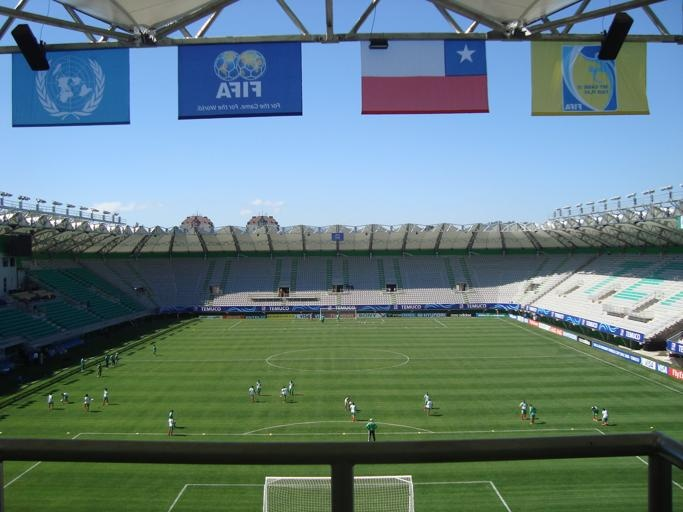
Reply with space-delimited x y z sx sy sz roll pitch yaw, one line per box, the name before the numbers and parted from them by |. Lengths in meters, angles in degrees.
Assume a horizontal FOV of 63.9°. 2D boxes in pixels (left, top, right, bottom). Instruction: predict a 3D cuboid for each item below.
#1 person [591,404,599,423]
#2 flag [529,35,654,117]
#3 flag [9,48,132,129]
person | 11.541 7.224 25.064 0.388 0.290 0.784 -11 -58 19
flag | 5.888 -4.294 13.335 3.890 0.375 1.786 -9 -76 -24
flag | -6.383 -4.015 13.192 3.945 0.286 1.758 6 -78 21
